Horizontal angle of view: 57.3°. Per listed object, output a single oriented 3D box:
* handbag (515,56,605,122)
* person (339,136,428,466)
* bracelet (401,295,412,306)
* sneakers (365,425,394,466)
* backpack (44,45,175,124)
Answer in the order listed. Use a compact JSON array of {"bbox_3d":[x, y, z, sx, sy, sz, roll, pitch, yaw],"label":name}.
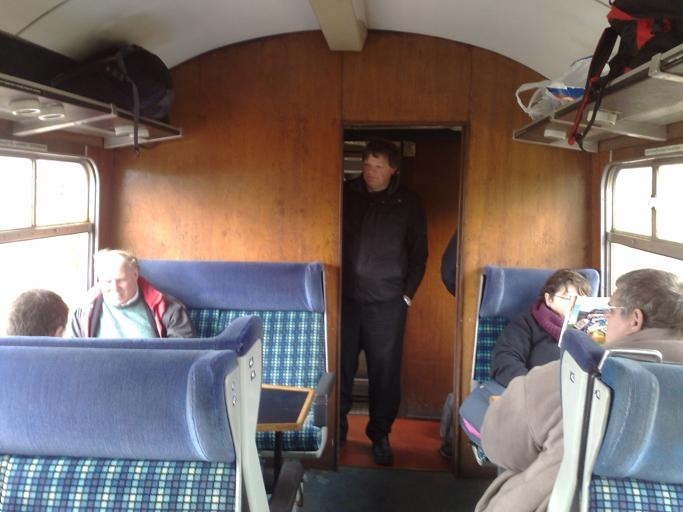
[{"bbox_3d":[1.206,-0.881,3.616,0.345,0.191,0.453,-18,9,-29],"label":"handbag"},{"bbox_3d":[0.308,0.278,4.533,0.614,2.197,0.363,1,7,-1],"label":"person"},{"bbox_3d":[0.474,0.313,4.519,0.029,0.074,0.077,-28,43,-17],"label":"bracelet"},{"bbox_3d":[0.270,1.372,4.543,0.165,0.184,0.338,-3,10,-28],"label":"sneakers"},{"bbox_3d":[-1.293,-1.113,3.676,0.523,0.418,0.492,-25,18,-37],"label":"backpack"}]
